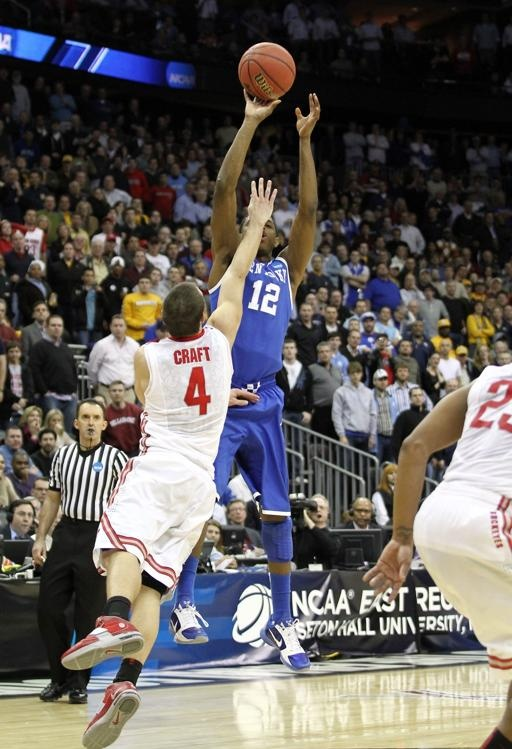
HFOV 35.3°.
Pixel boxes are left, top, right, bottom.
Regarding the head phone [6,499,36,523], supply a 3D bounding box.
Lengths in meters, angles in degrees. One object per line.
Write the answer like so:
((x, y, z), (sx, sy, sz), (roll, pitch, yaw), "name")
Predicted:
((-2.151, 1.253, 7.398), (0.236, 0.202, 0.239), (2, -9, -10), "head phone")

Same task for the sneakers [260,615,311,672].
((0.197, 1.800, 5.348), (0.285, 0.370, 0.282), (4, -6, -3), "sneakers")

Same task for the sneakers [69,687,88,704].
((-1.030, 1.877, 4.688), (0.053, 0.065, 0.148), (3, 1, 0), "sneakers")

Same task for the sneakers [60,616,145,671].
((-0.492, 0.877, 2.611), (0.255, 0.193, 0.230), (5, -6, -8), "sneakers")

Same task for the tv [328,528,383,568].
((0.922, 1.633, 7.555), (0.489, 0.358, 0.416), (2, -6, 18), "tv")

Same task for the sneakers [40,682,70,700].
((-1.187, 1.877, 4.787), (0.077, 0.098, 0.209), (-5, -13, 25), "sneakers")

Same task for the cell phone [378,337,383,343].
((1.830, -0.499, 11.851), (0.067, 0.082, 0.076), (-3, -17, 13), "cell phone")

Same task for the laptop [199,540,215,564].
((-0.412, 1.499, 6.848), (0.076, 0.176, 0.262), (3, -6, 7), "laptop")

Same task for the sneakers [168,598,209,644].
((-0.368, 1.357, 4.379), (0.162, 0.215, 0.292), (5, -6, -14), "sneakers")

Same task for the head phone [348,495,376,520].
((1.136, 1.429, 8.644), (0.224, 0.265, 0.286), (1, -12, 4), "head phone")

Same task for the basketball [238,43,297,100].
((0.056, -1.778, 4.793), (0.382, 0.417, 0.370), (-1, 18, -4), "basketball")
